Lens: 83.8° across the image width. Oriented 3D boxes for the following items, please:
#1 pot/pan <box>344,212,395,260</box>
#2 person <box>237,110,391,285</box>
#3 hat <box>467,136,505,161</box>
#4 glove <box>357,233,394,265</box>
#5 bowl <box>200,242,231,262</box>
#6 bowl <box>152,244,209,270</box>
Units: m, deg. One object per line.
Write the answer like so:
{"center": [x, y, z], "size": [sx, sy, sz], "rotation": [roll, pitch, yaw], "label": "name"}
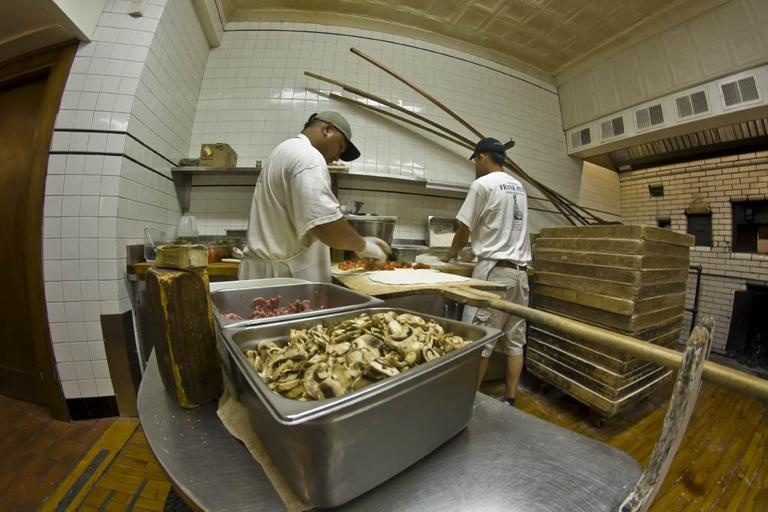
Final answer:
{"center": [-0.120, -0.182, 3.961], "size": [0.411, 0.287, 0.399], "rotation": [-1, 9, -23], "label": "pot/pan"}
{"center": [-0.572, -0.462, 3.325], "size": [1.065, 1.371, 0.571], "rotation": [-2, 5, -18], "label": "person"}
{"center": [0.974, -1.051, 4.126], "size": [0.241, 0.161, 0.315], "rotation": [3, 15, -20], "label": "hat"}
{"center": [-0.077, -0.054, 3.592], "size": [0.177, 0.177, 0.350], "rotation": [-16, -14, 10], "label": "glove"}
{"center": [-1.520, -0.030, 3.956], "size": [0.184, 0.114, 0.192], "rotation": [3, 3, 0], "label": "bowl"}
{"center": [-1.183, 0.010, 2.500], "size": [0.265, 0.138, 0.166], "rotation": [0, 4, 11], "label": "bowl"}
